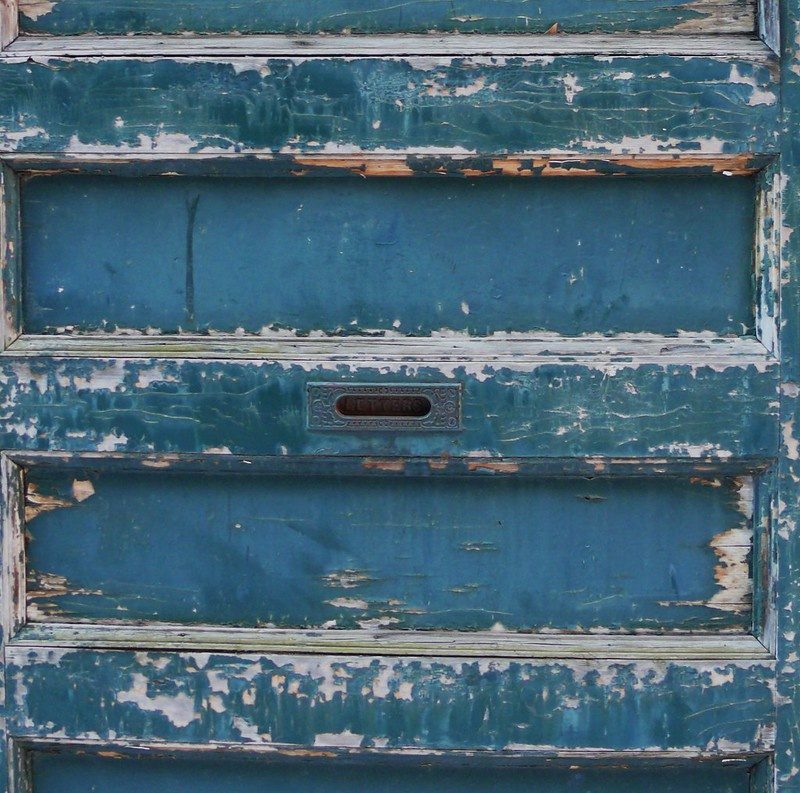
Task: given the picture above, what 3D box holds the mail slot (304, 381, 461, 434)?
[{"bbox_3d":[-0.023,0.015,4.323,0.279,0.014,0.077,0,-91,30],"label":"mail slot"}]
